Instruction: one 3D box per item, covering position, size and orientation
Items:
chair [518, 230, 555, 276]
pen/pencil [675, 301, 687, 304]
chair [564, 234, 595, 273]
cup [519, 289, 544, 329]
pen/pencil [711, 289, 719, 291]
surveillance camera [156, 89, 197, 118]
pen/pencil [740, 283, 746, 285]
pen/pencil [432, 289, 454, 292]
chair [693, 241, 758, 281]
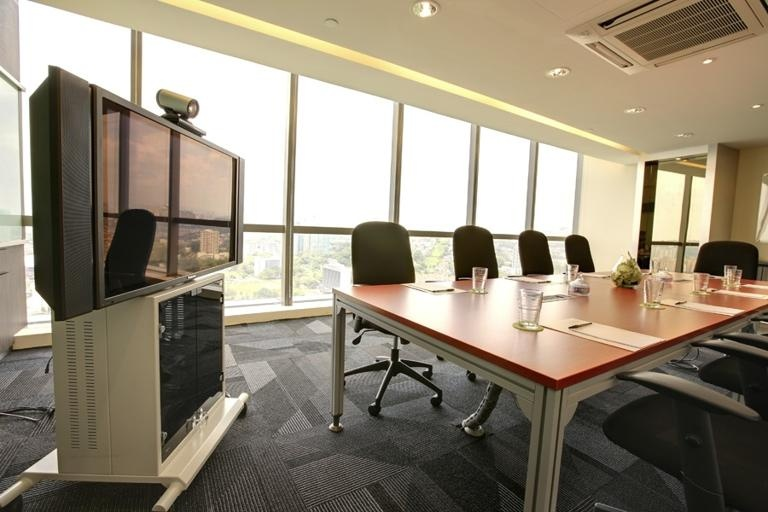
[{"bbox_3d":[1.496,-0.028,5.032,0.503,0.427,0.264,-2,5,-41],"label":"chair"},{"bbox_3d":[2.129,0.338,3.658,0.156,0.017,0.029,-2,4,-42],"label":"pen/pencil"},{"bbox_3d":[2.087,-0.021,5.477,0.224,0.385,0.567,4,5,42],"label":"chair"},{"bbox_3d":[0.898,0.324,3.139,0.135,0.239,0.192,2,4,14],"label":"cup"},{"bbox_3d":[2.742,0.288,4.220,0.047,0.014,0.029,-1,4,-20],"label":"pen/pencil"},{"bbox_3d":[-1.329,-0.987,3.331,0.258,0.133,0.167,17,24,10],"label":"surveillance camera"},{"bbox_3d":[3.269,0.258,4.646,0.014,0.014,0.055,6,-5,-9],"label":"pen/pencil"},{"bbox_3d":[0.431,0.260,3.801,0.164,0.021,0.022,2,2,-29],"label":"pen/pencil"},{"bbox_3d":[3.466,0.021,5.295,0.511,0.620,0.559,-1,-1,44],"label":"chair"}]
